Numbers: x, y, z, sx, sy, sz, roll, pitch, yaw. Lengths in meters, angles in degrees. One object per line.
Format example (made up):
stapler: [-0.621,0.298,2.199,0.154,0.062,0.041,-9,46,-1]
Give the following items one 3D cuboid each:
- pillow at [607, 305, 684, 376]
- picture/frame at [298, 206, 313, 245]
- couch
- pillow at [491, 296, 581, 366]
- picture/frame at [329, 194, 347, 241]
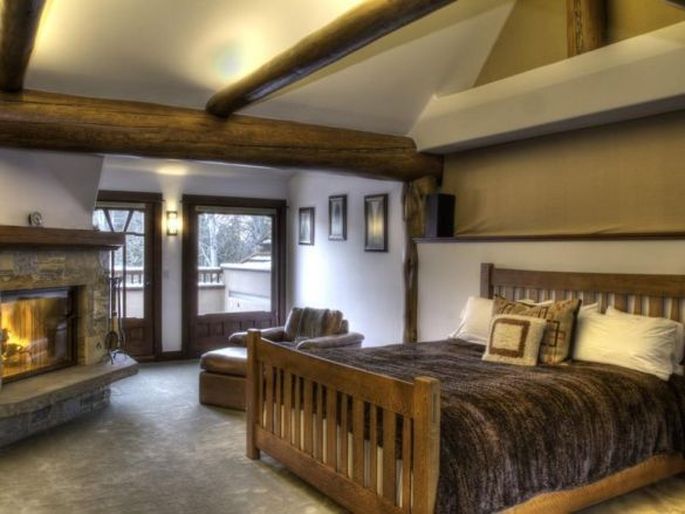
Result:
pillow: [2.196,0.586,3.523,0.424,0.447,0.128,5,-23,38]
picture/frame: [-0.564,-0.493,7.557,0.046,0.686,0.577,-1,2,-28]
couch: [-0.778,1.056,5.468,1.251,1.074,1.333,5,-6,-37]
pillow: [1.556,0.609,3.870,0.478,0.353,0.174,2,-41,45]
picture/frame: [-0.065,-0.554,6.863,0.062,0.642,0.417,-2,4,-30]
